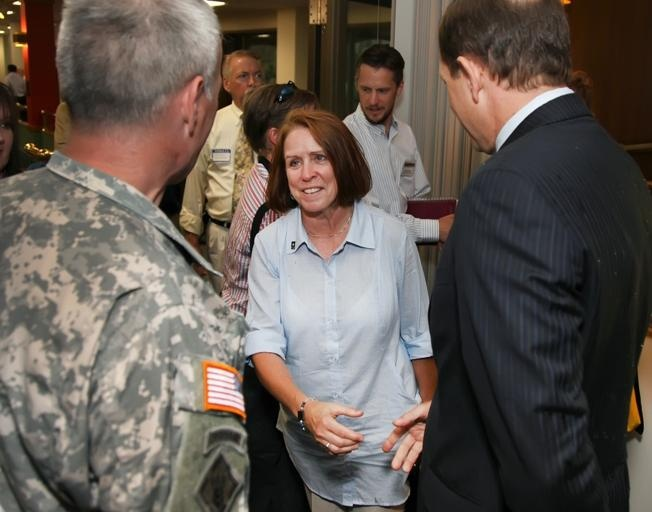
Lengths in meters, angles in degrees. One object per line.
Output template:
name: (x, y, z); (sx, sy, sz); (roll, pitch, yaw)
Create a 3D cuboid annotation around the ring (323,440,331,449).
ring: (0.006, 0.545, 1.760); (0.013, 0.025, 0.007); (5, 4, 32)
